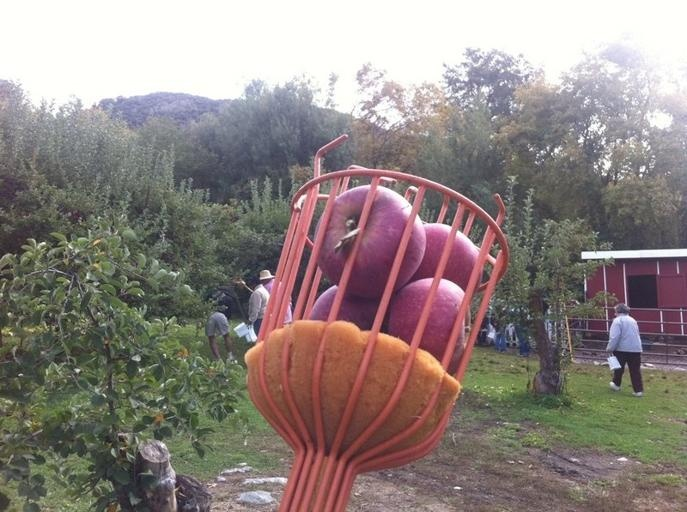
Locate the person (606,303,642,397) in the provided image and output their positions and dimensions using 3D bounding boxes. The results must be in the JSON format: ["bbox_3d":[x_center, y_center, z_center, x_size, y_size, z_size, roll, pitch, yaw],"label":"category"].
[{"bbox_3d":[5.567,1.832,11.670,0.669,1.714,1.002,5,5,28],"label":"person"}]

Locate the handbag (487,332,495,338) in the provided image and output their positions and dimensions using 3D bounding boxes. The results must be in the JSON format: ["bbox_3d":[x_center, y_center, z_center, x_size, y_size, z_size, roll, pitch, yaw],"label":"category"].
[{"bbox_3d":[3.738,2.006,15.081,0.170,0.072,0.174,-24,-3,-12],"label":"handbag"}]

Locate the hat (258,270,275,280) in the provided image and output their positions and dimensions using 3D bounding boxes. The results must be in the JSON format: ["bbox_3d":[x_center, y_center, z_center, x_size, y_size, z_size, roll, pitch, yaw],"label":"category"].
[{"bbox_3d":[-1.594,0.347,11.994,0.289,0.190,0.347,-13,-16,5],"label":"hat"}]

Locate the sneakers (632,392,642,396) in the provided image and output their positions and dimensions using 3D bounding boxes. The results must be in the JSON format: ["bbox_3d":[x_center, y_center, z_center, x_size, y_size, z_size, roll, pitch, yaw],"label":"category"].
[{"bbox_3d":[5.542,2.596,11.177,0.076,0.080,0.203,15,-10,9],"label":"sneakers"}]

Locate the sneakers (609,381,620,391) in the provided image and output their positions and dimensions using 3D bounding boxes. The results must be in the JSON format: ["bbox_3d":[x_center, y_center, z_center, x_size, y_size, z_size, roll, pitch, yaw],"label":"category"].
[{"bbox_3d":[5.342,2.564,11.695,0.092,0.141,0.172,2,-13,2],"label":"sneakers"}]
